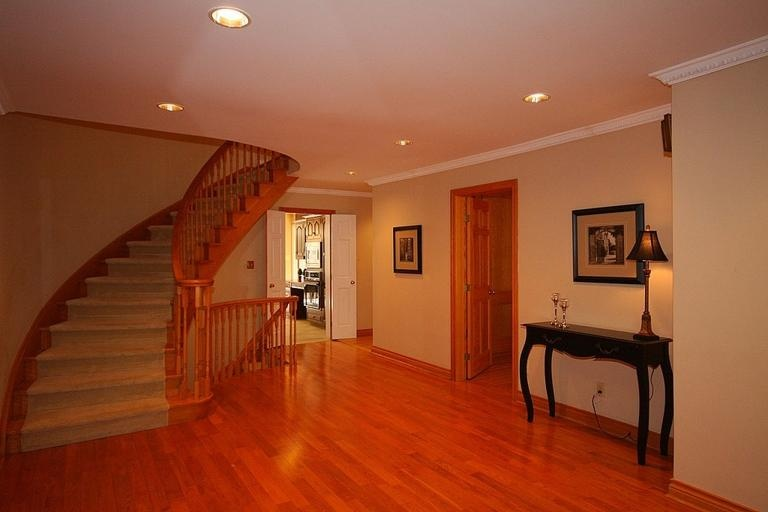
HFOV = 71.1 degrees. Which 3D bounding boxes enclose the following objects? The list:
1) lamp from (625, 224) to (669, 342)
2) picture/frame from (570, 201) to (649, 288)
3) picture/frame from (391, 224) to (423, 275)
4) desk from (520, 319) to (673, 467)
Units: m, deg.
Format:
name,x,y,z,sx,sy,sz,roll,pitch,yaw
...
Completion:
name,x,y,z,sx,sy,sz,roll,pitch,yaw
lamp,2.529,0.259,5.199,0.347,1.041,0.558,5,11,28
picture/frame,2.377,-0.111,5.594,0.073,1.034,0.863,3,-5,-38
picture/frame,0.359,-0.090,8.088,0.086,0.818,0.748,3,-3,-35
desk,2.162,1.330,5.636,0.541,1.236,1.438,-9,8,-36
